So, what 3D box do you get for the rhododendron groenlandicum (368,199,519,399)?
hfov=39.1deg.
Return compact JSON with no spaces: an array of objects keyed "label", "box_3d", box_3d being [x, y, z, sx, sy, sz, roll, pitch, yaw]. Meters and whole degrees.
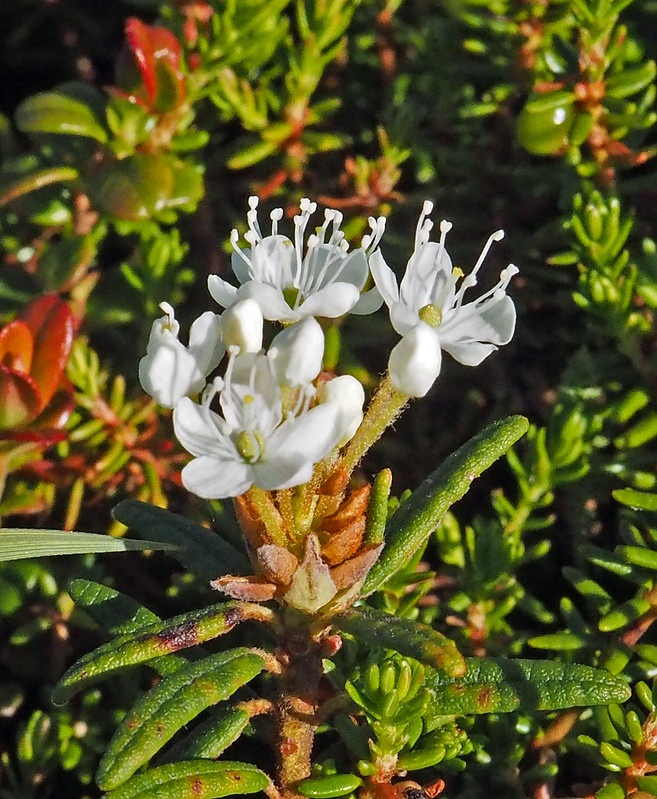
[{"label":"rhododendron groenlandicum","box_3d":[0.211,-0.175,1.852,0.302,0.272,0.307,19,84,-8]}]
